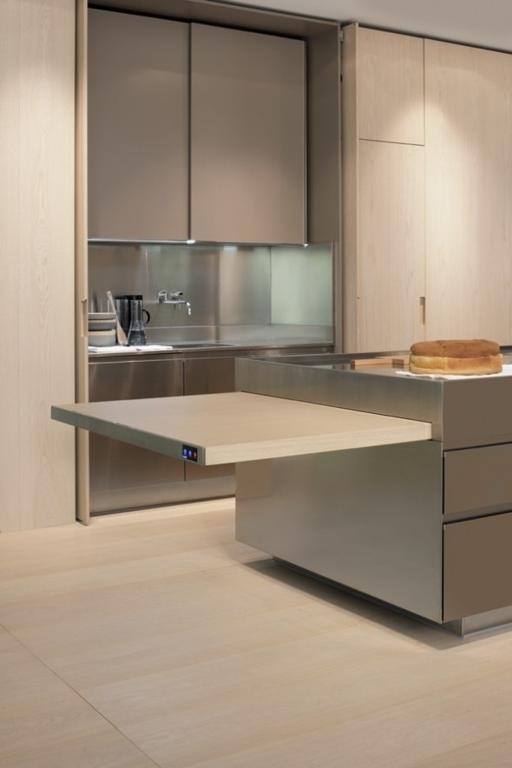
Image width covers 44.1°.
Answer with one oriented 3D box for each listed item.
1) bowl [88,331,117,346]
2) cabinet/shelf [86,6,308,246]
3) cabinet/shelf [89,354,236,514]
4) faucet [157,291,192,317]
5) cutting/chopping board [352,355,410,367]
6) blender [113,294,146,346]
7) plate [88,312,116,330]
[{"bbox_3d":[-0.919,-0.268,3.756,0.052,0.104,0.194,-2,-3,44],"label":"bowl"},{"bbox_3d":[-0.409,-1.569,4.148,1.432,1.314,0.519,0,4,-15],"label":"cabinet/shelf"},{"bbox_3d":[-0.458,0.218,2.776,0.808,0.753,0.290,-2,2,-33],"label":"cabinet/shelf"},{"bbox_3d":[-0.563,-0.552,4.345,0.173,0.140,0.144,-3,8,-35],"label":"faucet"},{"bbox_3d":[0.439,-0.073,2.252,0.197,0.050,0.259,0,-2,10],"label":"cutting/chopping board"},{"bbox_3d":[-0.830,-0.406,4.141,0.159,0.340,0.322,2,10,44],"label":"blender"},{"bbox_3d":[-0.916,-0.363,3.742,0.182,0.115,0.042,2,-2,-40],"label":"plate"}]
